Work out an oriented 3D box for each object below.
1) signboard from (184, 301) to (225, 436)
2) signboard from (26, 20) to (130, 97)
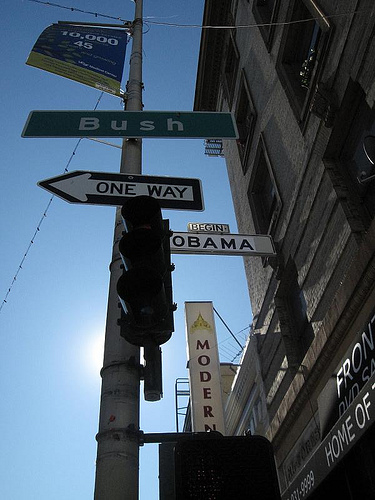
[{"bbox_3d":[0.524,3.482,14.110,0.811,0.609,5.018,0,-64,10],"label":"signboard"},{"bbox_3d":[-1.638,-3.208,7.115,1.353,1.597,0.189,12,-35,-7],"label":"signboard"}]
